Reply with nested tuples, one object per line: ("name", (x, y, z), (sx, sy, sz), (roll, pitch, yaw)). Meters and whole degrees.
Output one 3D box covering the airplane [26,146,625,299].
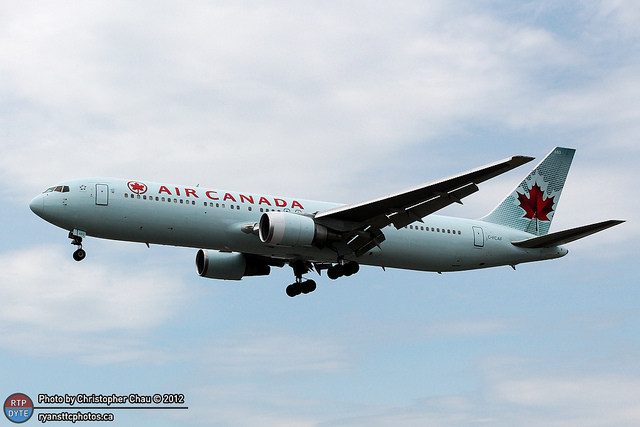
("airplane", (0.457, 0.760, 32.020), (16.605, 2.932, 11.274), (5, -16, -17))
